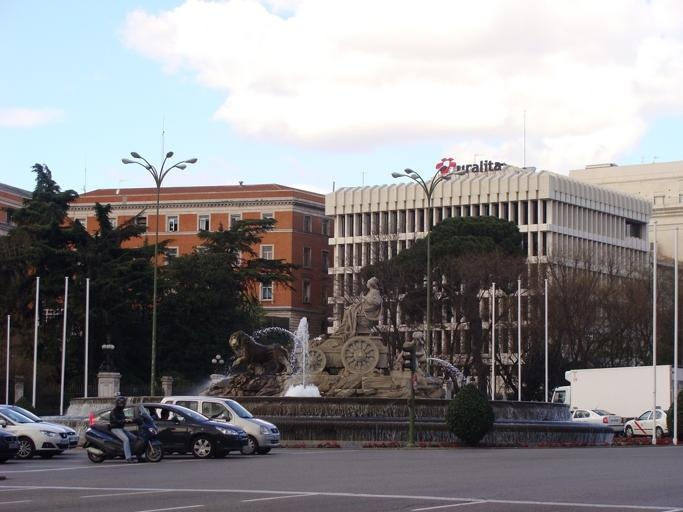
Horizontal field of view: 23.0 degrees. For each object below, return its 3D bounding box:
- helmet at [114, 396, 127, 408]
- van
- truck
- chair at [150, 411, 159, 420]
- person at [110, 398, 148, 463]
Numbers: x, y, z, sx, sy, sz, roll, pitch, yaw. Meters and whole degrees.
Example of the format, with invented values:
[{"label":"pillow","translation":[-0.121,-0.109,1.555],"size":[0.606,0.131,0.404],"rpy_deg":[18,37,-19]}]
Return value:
[{"label":"helmet","translation":[-8.812,5.876,67.275],"size":[0.393,0.450,0.471],"rpy_deg":[6,-14,-5]},{"label":"van","translation":[-5.000,7.225,71.725],"size":[4.491,1.964,2.401],"rpy_deg":[-2,-4,9]},{"label":"truck","translation":[16.486,7.814,96.646],"size":[2.895,3.701,8.454],"rpy_deg":[3,-4,-37]},{"label":"chair","translation":[-7.678,6.623,69.206],"size":[0.277,0.228,0.224],"rpy_deg":[-24,-29,39]},{"label":"person","translation":[-8.593,6.962,67.475],"size":[1.189,2.610,1.117],"rpy_deg":[-8,-9,35]}]
